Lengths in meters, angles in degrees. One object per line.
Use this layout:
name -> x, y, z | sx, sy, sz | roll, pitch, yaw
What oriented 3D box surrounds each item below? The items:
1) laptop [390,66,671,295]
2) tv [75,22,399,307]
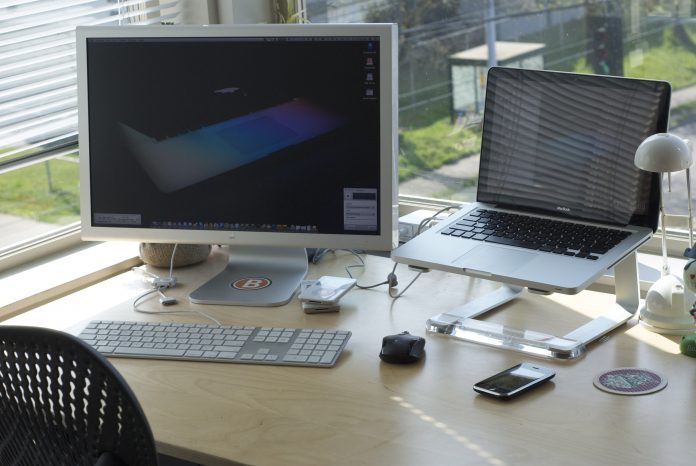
laptop -> 0.490, -0.146, 1.485 | 0.647, 0.416, 0.598 | 16, 36, 35
tv -> -0.265, -0.185, 1.477 | 0.931, 0.599, 0.292 | 1, 9, 7
